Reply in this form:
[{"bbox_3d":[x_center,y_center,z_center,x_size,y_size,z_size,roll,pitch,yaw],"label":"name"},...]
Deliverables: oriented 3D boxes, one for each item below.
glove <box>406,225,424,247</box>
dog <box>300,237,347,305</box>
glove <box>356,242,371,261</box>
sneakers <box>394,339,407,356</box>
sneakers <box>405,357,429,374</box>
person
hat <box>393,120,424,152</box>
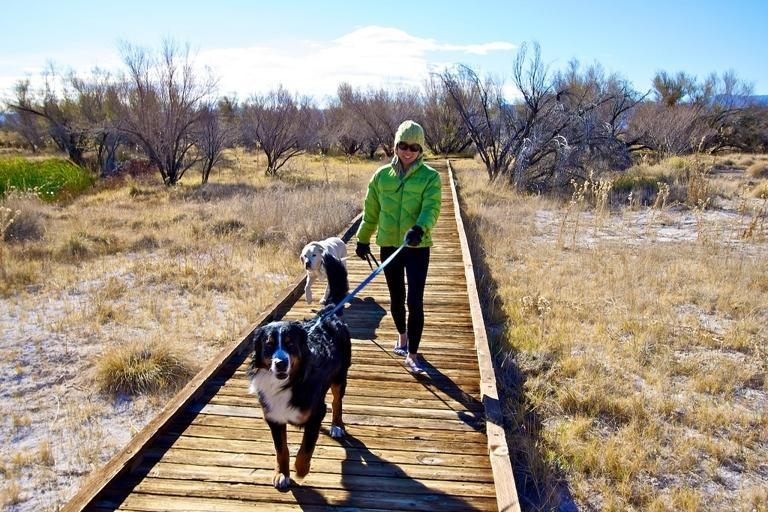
[{"bbox_3d":[0.405,-0.258,7.776,0.137,0.143,0.305,-2,22,4],"label":"glove"},{"bbox_3d":[-1.033,0.263,10.419,0.464,1.201,1.968,3,5,13],"label":"dog"},{"bbox_3d":[-0.310,-0.067,8.396,0.155,0.269,0.085,-2,7,-9],"label":"glove"},{"bbox_3d":[0.247,1.364,8.579,0.169,0.150,0.377,0,-5,-2],"label":"sneakers"},{"bbox_3d":[0.453,1.574,8.281,0.156,0.155,0.334,-1,0,-22],"label":"sneakers"},{"bbox_3d":[0.229,-0.110,8.201,1.024,3.447,0.641,9,17,30],"label":"person"},{"bbox_3d":[0.345,-1.629,7.971,0.305,0.365,0.363,4,7,-2],"label":"hat"}]
